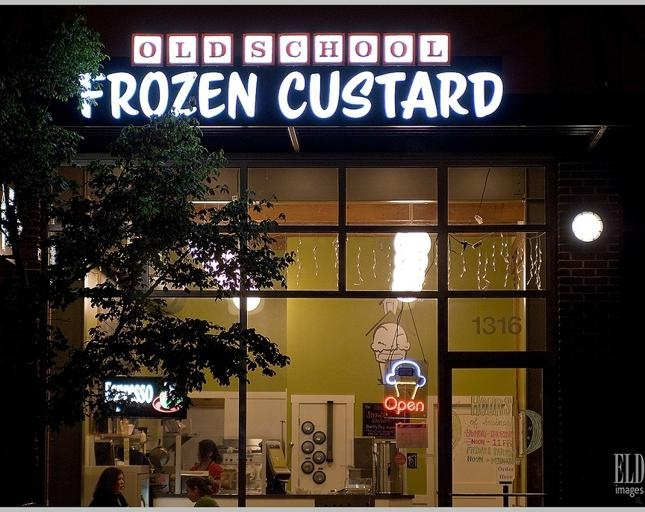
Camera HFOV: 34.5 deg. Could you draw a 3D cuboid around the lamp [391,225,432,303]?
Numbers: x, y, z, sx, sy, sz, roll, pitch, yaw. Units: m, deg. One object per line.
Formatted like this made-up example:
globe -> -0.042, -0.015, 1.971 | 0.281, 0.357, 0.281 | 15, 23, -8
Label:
lamp -> 1.190, 0.110, 14.090 | 0.477, 1.001, 0.342 | 5, 0, 7
